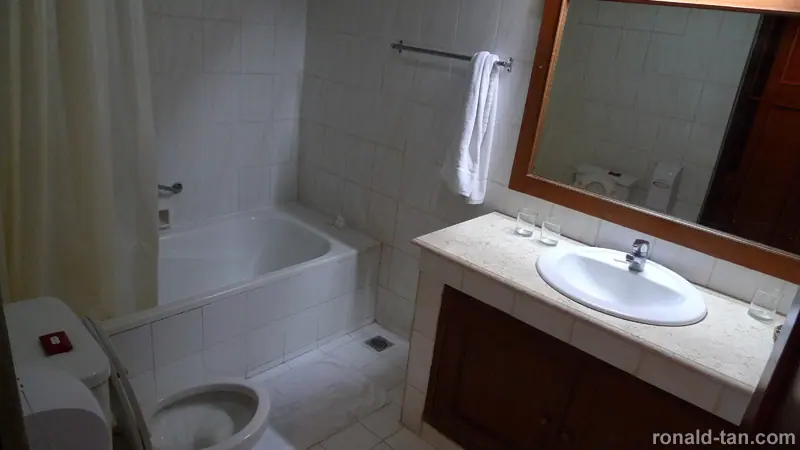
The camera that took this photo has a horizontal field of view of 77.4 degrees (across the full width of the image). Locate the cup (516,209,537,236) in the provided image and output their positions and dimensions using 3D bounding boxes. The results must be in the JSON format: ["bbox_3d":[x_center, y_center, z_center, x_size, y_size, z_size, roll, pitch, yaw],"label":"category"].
[{"bbox_3d":[0.768,-0.014,3.033,0.108,0.124,0.111,0,29,0],"label":"cup"}]

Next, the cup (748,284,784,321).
[{"bbox_3d":[1.866,0.397,2.547,0.119,0.157,0.140,23,32,35],"label":"cup"}]

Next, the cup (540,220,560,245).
[{"bbox_3d":[0.884,0.044,2.929,0.097,0.106,0.095,2,30,-1],"label":"cup"}]

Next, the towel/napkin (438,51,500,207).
[{"bbox_3d":[0.432,-0.597,3.123,0.294,0.906,0.295,6,26,4],"label":"towel/napkin"}]
